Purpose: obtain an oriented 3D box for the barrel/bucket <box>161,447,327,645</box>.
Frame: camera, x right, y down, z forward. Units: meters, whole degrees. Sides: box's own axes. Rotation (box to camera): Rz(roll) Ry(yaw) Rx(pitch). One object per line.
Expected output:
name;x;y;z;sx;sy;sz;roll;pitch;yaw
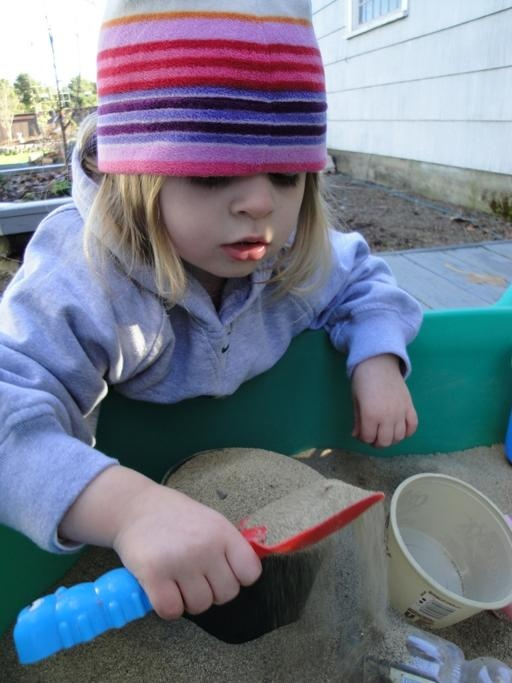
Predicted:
barrel/bucket;-0.005;0.246;0.763;0.217;0.203;0.242;-1;31;-3
